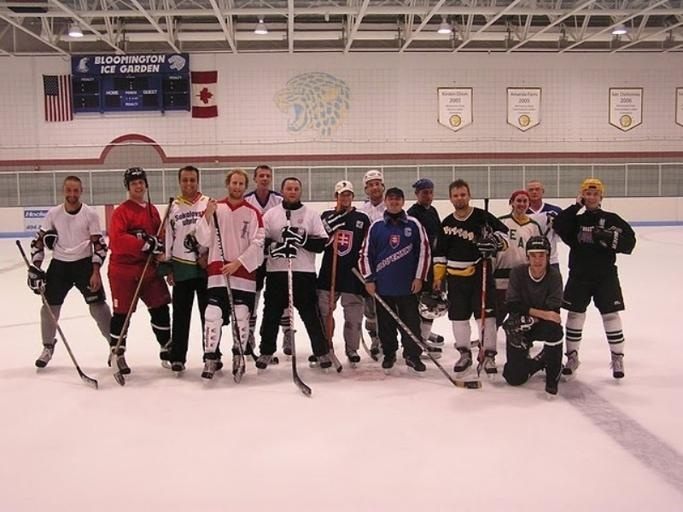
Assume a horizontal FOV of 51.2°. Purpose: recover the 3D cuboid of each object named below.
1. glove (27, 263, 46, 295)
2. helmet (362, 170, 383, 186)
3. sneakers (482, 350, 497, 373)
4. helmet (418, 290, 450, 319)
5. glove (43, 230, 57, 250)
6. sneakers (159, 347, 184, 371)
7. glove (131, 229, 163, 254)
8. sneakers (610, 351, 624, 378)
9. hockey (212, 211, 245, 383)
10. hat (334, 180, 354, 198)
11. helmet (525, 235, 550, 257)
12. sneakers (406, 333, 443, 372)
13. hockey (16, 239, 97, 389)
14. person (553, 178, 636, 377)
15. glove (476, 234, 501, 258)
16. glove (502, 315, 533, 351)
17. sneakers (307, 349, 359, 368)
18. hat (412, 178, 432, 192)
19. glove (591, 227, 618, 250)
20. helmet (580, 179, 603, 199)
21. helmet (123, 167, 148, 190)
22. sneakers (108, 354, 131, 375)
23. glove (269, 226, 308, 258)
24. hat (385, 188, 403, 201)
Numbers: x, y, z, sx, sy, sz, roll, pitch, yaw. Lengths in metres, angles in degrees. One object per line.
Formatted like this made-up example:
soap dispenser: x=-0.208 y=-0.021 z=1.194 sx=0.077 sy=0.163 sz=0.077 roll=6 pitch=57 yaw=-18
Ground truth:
glove: x=-3.562 y=0.268 z=8.341 sx=0.116 sy=0.314 sz=0.226 roll=-6 pitch=7 yaw=-38
helmet: x=0.397 y=-1.022 z=9.087 sx=0.208 sy=0.172 sz=0.301 roll=-4 pitch=13 yaw=2
sneakers: x=1.691 y=1.210 z=8.094 sx=0.152 sy=0.253 sz=0.202 roll=1 pitch=6 yaw=12
helmet: x=1.075 y=0.559 z=8.366 sx=0.319 sy=0.317 sz=0.249 roll=-6 pitch=9 yaw=-14
glove: x=-3.426 y=-0.200 z=8.458 sx=0.157 sy=0.216 sz=0.208 roll=8 pitch=6 yaw=-23
sneakers: x=-2.005 y=1.223 z=8.352 sx=0.170 sy=0.205 sz=0.466 roll=1 pitch=-7 yaw=-19
glove: x=-2.235 y=-0.150 z=8.291 sx=0.156 sy=0.224 sz=0.355 roll=-4 pitch=-28 yaw=46
sneakers: x=3.116 y=1.233 z=8.040 sx=0.100 sy=0.149 sz=0.324 roll=-6 pitch=15 yaw=20
hockey: x=-1.323 y=0.418 z=8.221 sx=0.294 sy=2.121 sz=0.252 roll=-14 pitch=-11 yaw=28
hat: x=0.018 y=-0.824 z=8.624 sx=0.183 sy=0.140 sz=0.266 roll=-2 pitch=-4 yaw=-8
helmet: x=2.168 y=-0.134 z=7.867 sx=0.185 sy=0.238 sz=0.233 roll=-3 pitch=-29 yaw=9
sneakers: x=0.928 y=1.116 z=8.262 sx=0.225 sy=0.305 sz=0.683 roll=-22 pitch=28 yaw=-21
hockey: x=-3.525 y=0.768 z=8.836 sx=0.271 sy=1.921 sz=0.080 roll=-30 pitch=-3 yaw=13
person: x=2.922 y=0.222 z=8.269 sx=0.890 sy=2.210 sz=0.870 roll=1 pitch=6 yaw=9
glove: x=1.677 y=-0.114 z=8.079 sx=0.287 sy=0.267 sz=0.181 roll=-4 pitch=7 yaw=-35
glove: x=1.924 y=0.830 z=7.786 sx=0.264 sy=0.380 sz=0.167 roll=-8 pitch=-9 yaw=22
sneakers: x=-0.079 y=1.225 z=8.446 sx=0.646 sy=0.270 sz=0.225 roll=3 pitch=-3 yaw=-7
hat: x=1.012 y=-0.900 z=9.008 sx=0.228 sy=0.188 sz=0.174 roll=3 pitch=7 yaw=10
glove: x=2.983 y=-0.207 z=8.073 sx=0.254 sy=0.199 sz=0.127 roll=11 pitch=-1 yaw=2
helmet: x=2.948 y=-0.804 z=8.347 sx=0.219 sy=0.185 sz=0.552 roll=2 pitch=6 yaw=23
helmet: x=-2.449 y=-0.886 z=8.415 sx=0.269 sy=0.329 sz=0.313 roll=2 pitch=33 yaw=-17
sneakers: x=-2.617 y=1.211 z=8.305 sx=0.140 sy=0.171 sz=0.418 roll=1 pitch=18 yaw=-41
glove: x=-0.609 y=-0.153 z=8.137 sx=0.352 sy=0.376 sz=0.156 roll=6 pitch=-4 yaw=9
hat: x=0.621 y=-0.679 z=8.315 sx=0.135 sy=0.150 sz=0.190 roll=1 pitch=-35 yaw=11
